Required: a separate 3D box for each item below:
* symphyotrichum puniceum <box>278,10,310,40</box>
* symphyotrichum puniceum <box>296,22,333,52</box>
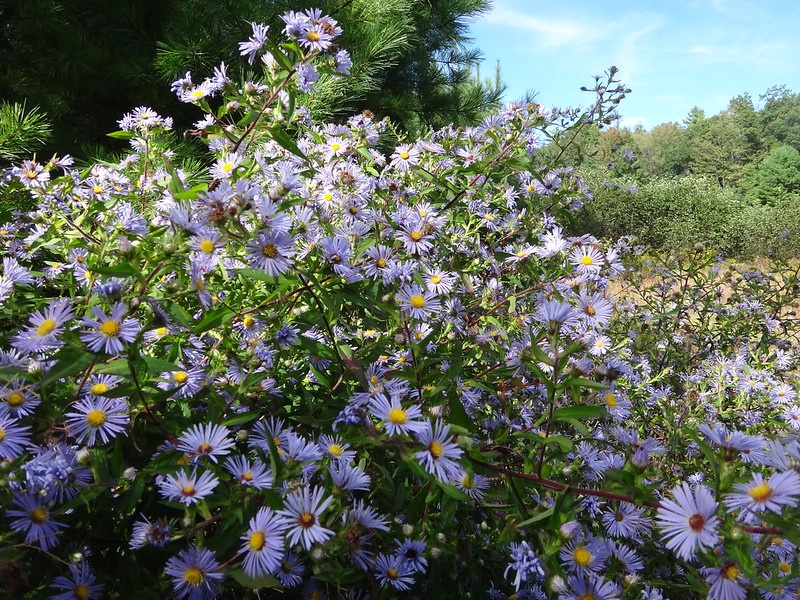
[{"bbox_3d":[-0.315,-0.825,1.902,0.054,0.097,0.101,-11,78,23],"label":"symphyotrichum puniceum"},{"bbox_3d":[-0.237,-0.753,1.837,0.086,0.025,0.097,26,66,9],"label":"symphyotrichum puniceum"}]
